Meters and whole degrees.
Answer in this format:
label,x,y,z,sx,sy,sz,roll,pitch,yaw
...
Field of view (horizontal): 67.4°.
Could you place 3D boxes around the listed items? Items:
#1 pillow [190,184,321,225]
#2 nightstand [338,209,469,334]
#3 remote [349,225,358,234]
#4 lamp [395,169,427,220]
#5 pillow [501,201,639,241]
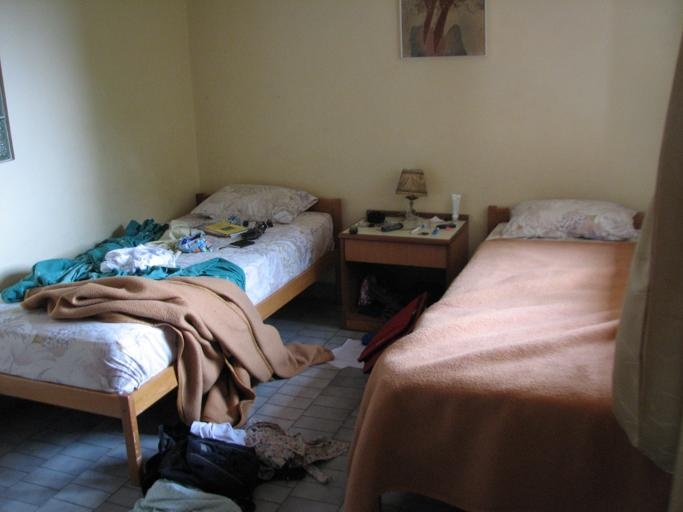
label,x,y,z,sx,sy,sz,roll,pitch,yaw
pillow,-0.666,-0.348,3.904,0.711,0.145,0.414,3,24,21
nightstand,0.420,0.159,3.647,0.793,0.726,0.595,2,11,6
remote,0.082,-0.175,3.481,0.052,0.044,0.052,-3,9,-32
lamp,0.517,-0.438,3.716,0.280,0.346,0.285,9,11,43
pillow,1.466,-0.227,3.226,0.475,0.119,0.417,3,15,17
